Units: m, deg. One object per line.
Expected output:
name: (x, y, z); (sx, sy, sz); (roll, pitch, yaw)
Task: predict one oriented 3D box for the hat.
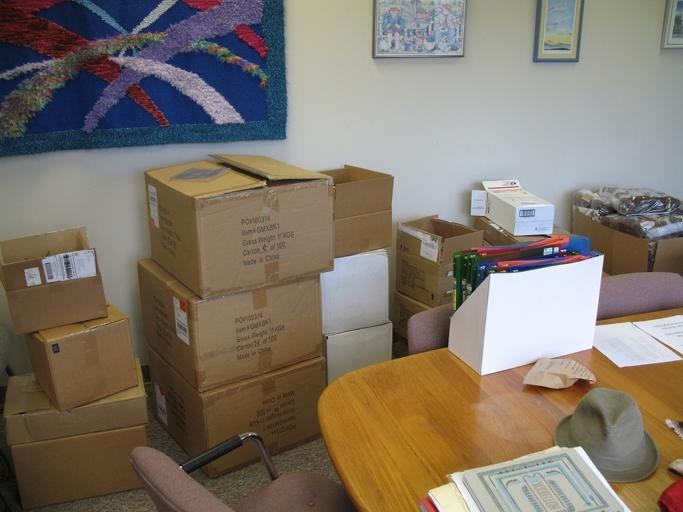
hat: (0.782, 0.497, 1.488); (0.247, 0.201, 0.160); (0, 20, 3)
